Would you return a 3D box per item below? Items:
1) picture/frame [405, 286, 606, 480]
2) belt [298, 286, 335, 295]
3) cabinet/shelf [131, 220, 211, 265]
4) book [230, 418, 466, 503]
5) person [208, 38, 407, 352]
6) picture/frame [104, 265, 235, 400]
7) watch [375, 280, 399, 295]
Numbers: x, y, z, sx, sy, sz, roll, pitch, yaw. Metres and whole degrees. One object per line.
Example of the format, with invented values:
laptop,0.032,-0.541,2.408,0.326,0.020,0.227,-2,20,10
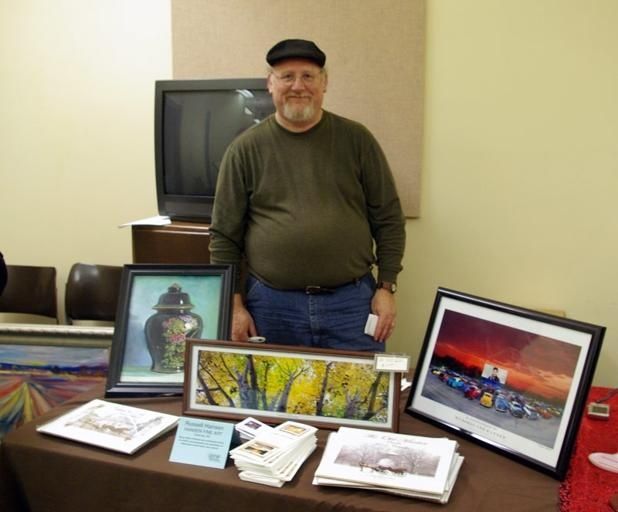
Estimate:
picture/frame,0.604,0.396,1.478,0.514,0.463,0.054,21,-2,36
belt,0.034,0.143,2.022,0.147,0.041,0.027,3,12,-2
cabinet/shelf,-0.746,-0.056,2.658,0.466,0.216,0.100,7,13,19
book,0.129,0.549,1.303,0.389,0.053,0.231,1,16,20
person,0.001,-0.109,2.094,0.843,1.017,0.363,1,13,-11
picture/frame,-0.463,0.268,1.662,0.481,0.491,0.036,1,-14,2
watch,0.334,0.145,2.151,0.075,0.042,0.073,2,-5,11
